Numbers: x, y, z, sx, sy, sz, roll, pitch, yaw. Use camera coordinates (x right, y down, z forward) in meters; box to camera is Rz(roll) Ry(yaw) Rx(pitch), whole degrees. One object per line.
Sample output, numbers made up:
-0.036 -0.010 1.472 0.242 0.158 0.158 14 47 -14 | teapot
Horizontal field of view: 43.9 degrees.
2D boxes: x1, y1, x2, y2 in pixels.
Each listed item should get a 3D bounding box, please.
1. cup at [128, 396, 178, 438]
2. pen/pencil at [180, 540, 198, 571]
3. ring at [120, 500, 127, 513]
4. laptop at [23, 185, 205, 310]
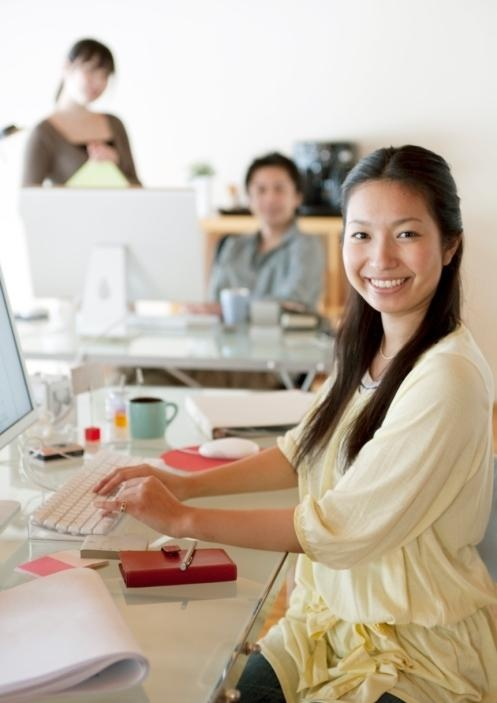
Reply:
-0.206 0.146 1.354 0.112 0.073 0.070 -5 5 -24 | cup
-0.072 0.240 0.732 0.006 0.004 0.038 -31 2 13 | pen/pencil
-0.158 0.198 0.784 0.005 0.012 0.009 0 6 -4 | ring
-0.450 -0.351 2.051 0.551 0.346 0.141 3 39 3 | laptop
